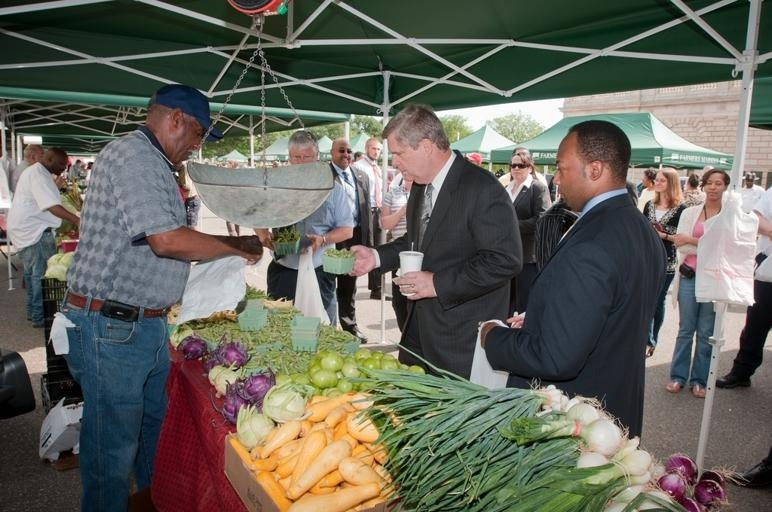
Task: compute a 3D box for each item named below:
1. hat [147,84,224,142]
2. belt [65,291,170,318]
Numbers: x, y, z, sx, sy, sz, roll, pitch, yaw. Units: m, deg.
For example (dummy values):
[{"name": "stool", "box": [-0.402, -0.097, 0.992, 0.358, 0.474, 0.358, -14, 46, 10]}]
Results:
[{"name": "hat", "box": [-1.395, -1.039, 3.955, 0.537, 0.261, 0.389, 16, -3, -14]}, {"name": "belt", "box": [-1.846, 0.328, 3.738, 0.566, 0.100, 0.319, 14, 7, 22]}]
